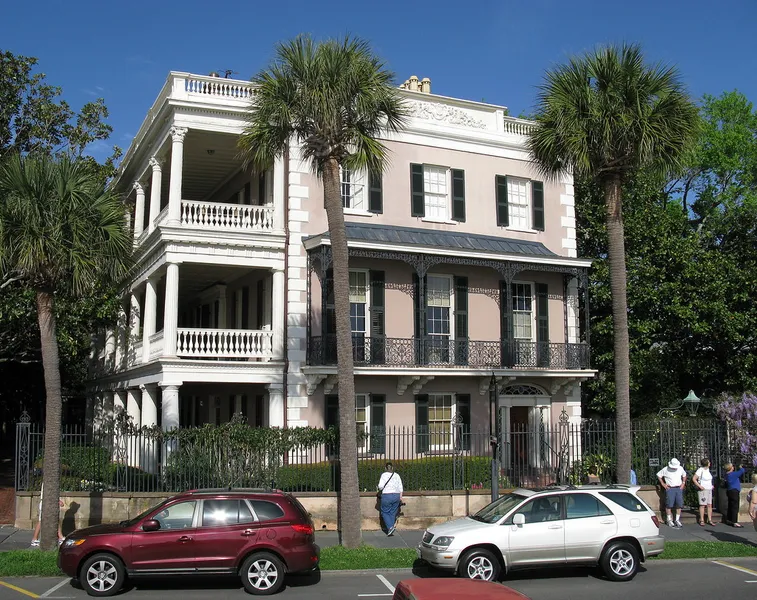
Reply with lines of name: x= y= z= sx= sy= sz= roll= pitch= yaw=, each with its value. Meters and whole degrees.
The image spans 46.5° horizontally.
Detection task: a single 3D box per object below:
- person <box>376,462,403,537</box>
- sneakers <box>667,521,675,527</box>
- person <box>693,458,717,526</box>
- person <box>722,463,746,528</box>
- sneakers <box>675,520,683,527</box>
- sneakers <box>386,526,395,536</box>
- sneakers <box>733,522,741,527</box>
person: x=0.312 y=5.703 z=25.147 sx=0.691 sy=2.016 sz=1.049 roll=0 pitch=-11 yaw=-2
sneakers: x=8.715 y=6.725 z=26.366 sx=0.205 sy=0.125 sz=0.077 roll=35 pitch=-37 yaw=-16
person: x=9.886 y=5.854 z=26.880 sx=0.515 sy=2.028 sz=1.173 roll=-5 pitch=-12 yaw=20
person: x=10.940 y=5.971 z=27.040 sx=0.601 sy=1.901 sz=1.540 roll=-5 pitch=-13 yaw=22
sneakers: x=8.956 y=6.704 z=26.406 sx=0.149 sy=0.139 sz=0.302 roll=6 pitch=-10 yaw=4
sneakers: x=0.339 y=6.572 z=24.848 sx=0.146 sy=0.246 sz=0.217 roll=-1 pitch=-22 yaw=8
sneakers: x=10.692 y=6.729 z=26.345 sx=0.166 sy=0.107 sz=0.340 roll=-6 pitch=-14 yaw=22
